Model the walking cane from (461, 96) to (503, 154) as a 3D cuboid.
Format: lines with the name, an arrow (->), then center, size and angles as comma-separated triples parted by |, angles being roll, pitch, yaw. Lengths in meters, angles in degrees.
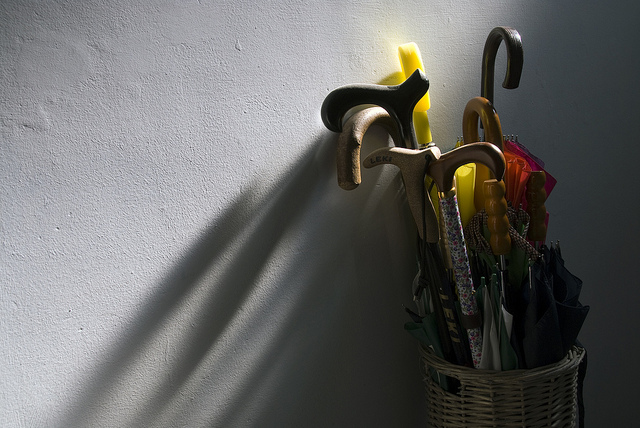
walking cane -> 0.317, -0.185, 1.120 | 0.074, 0.118, 0.050 | -15, 20, -41

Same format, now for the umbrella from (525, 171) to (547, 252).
umbrella -> 0.431, 0.018, 1.120 | 0.039, 0.202, 0.041 | -8, 10, -20

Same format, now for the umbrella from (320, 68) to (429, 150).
umbrella -> 0.089, -0.228, 1.108 | 0.211, 0.158, 0.137 | -15, 22, -39

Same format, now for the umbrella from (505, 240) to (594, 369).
umbrella -> 0.446, 0.179, 1.090 | 0.169, 0.261, 0.171 | 2, 17, 17

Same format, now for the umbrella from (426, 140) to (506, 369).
umbrella -> 0.265, 0.069, 1.045 | 0.120, 0.413, 0.127 | 1, 14, 9

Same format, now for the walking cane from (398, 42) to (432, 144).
walking cane -> 0.210, -0.232, 1.170 | 0.052, 0.236, 0.060 | -11, 14, -10

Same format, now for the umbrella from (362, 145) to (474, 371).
umbrella -> 0.213, 0.080, 1.121 | 0.197, 0.439, 0.081 | -11, 8, 29

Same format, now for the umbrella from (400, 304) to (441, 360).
umbrella -> 0.216, 0.225, 1.129 | 0.039, 0.108, 0.061 | -30, -6, -43
